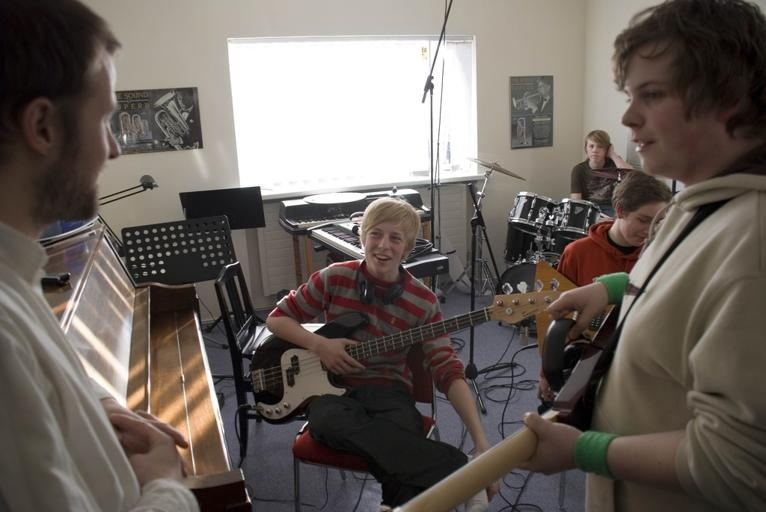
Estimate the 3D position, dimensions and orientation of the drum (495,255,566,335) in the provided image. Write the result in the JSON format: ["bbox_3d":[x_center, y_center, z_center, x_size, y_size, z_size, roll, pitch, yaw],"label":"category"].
[{"bbox_3d":[1.032,0.135,3.791,0.673,0.628,0.499,0,19,-1],"label":"drum"}]

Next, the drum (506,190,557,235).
[{"bbox_3d":[1.281,-0.356,4.380,0.352,0.273,0.374,14,19,-5],"label":"drum"}]

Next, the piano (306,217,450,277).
[{"bbox_3d":[-0.099,-0.052,3.117,0.399,0.665,0.218,-9,-3,-2],"label":"piano"}]

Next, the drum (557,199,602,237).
[{"bbox_3d":[1.528,-0.303,4.127,0.329,0.241,0.333,14,-10,3],"label":"drum"}]

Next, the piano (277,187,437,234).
[{"bbox_3d":[-0.436,-0.389,4.456,1.412,0.397,0.623,-5,19,-22],"label":"piano"}]
